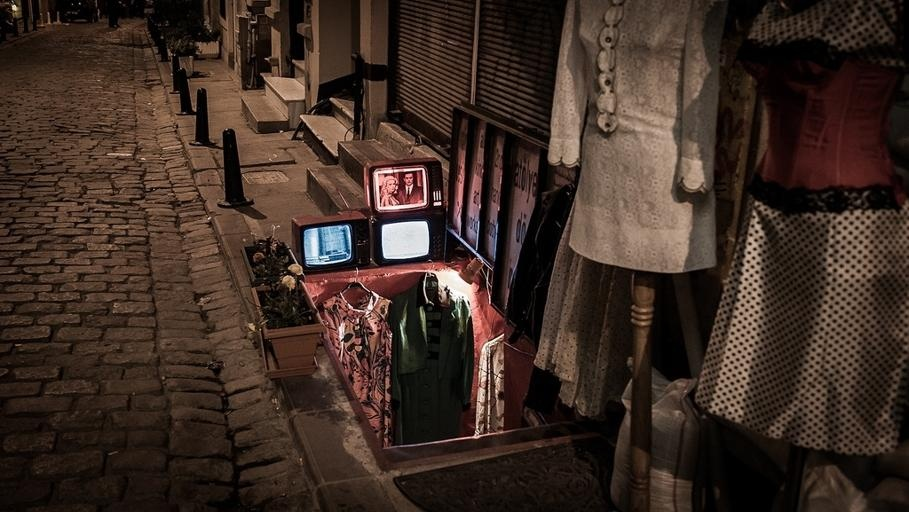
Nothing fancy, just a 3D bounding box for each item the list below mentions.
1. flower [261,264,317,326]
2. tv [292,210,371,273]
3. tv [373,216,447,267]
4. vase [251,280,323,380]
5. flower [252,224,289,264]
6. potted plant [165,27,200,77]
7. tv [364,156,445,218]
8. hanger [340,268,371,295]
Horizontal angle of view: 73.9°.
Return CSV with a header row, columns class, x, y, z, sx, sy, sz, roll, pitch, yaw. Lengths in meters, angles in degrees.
class,x,y,z,sx,sy,sz,roll,pitch,yaw
flower,-1.771,0.466,6.383,0.565,0.238,0.708,-6,42,-16
tv,-1.479,-0.175,7.390,1.031,0.637,0.726,-3,11,-15
tv,-0.516,-0.190,7.588,1.012,0.547,0.556,-4,14,-15
vase,-1.659,0.641,6.161,0.744,0.737,1.094,-5,43,-19
flower,-2.435,-0.157,8.004,0.531,0.461,0.493,0,27,-10
potted plant,-9.514,-7.287,21.388,0.981,1.840,3.011,-10,17,-20
tv,-0.413,-0.861,7.771,1.182,0.683,0.669,-1,2,34
hanger,-1.192,0.316,7.287,0.389,0.212,0.009,2,-16,7
